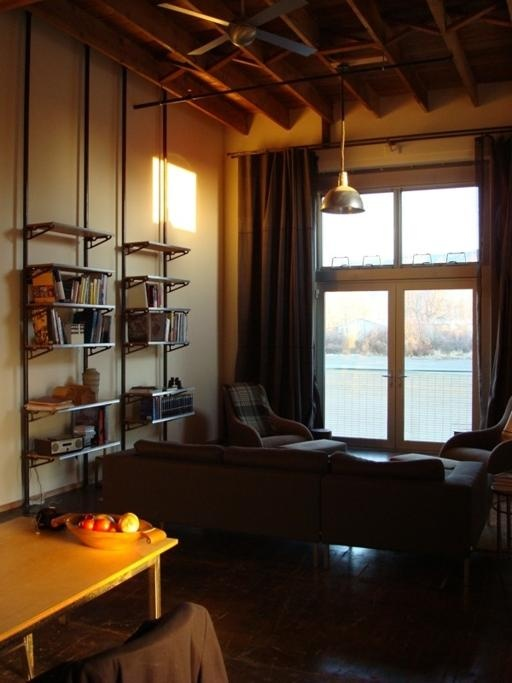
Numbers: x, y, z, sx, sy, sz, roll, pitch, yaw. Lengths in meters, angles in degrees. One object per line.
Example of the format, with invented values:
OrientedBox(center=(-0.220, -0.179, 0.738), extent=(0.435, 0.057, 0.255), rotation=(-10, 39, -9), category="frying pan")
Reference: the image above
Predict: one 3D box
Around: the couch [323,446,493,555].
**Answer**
OrientedBox(center=(0.828, 0.874, 3.456), extent=(0.856, 0.492, 0.475), rotation=(0, -1, 16), category="couch")

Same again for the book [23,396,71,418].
OrientedBox(center=(-1.615, 0.518, 4.770), extent=(0.356, 0.166, 0.246), rotation=(0, -1, -16), category="book")

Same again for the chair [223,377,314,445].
OrientedBox(center=(0.030, 0.673, 5.985), extent=(0.703, 0.633, 0.632), rotation=(-7, -9, 39), category="chair")

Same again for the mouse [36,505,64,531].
OrientedBox(center=(-0.854, 0.734, 2.591), extent=(0.102, 0.094, 0.097), rotation=(-1, -4, 35), category="mouse")

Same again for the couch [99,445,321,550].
OrientedBox(center=(-0.292, 0.877, 3.717), extent=(1.436, 0.481, 0.159), rotation=(0, -1, 24), category="couch")

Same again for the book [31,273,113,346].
OrientedBox(center=(-1.533, -0.278, 5.069), extent=(0.385, 0.652, 0.792), rotation=(0, -1, 24), category="book")

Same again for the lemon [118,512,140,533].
OrientedBox(center=(-0.485, 0.683, 2.357), extent=(0.082, 0.074, 0.079), rotation=(2, -9, -1), category="lemon")
